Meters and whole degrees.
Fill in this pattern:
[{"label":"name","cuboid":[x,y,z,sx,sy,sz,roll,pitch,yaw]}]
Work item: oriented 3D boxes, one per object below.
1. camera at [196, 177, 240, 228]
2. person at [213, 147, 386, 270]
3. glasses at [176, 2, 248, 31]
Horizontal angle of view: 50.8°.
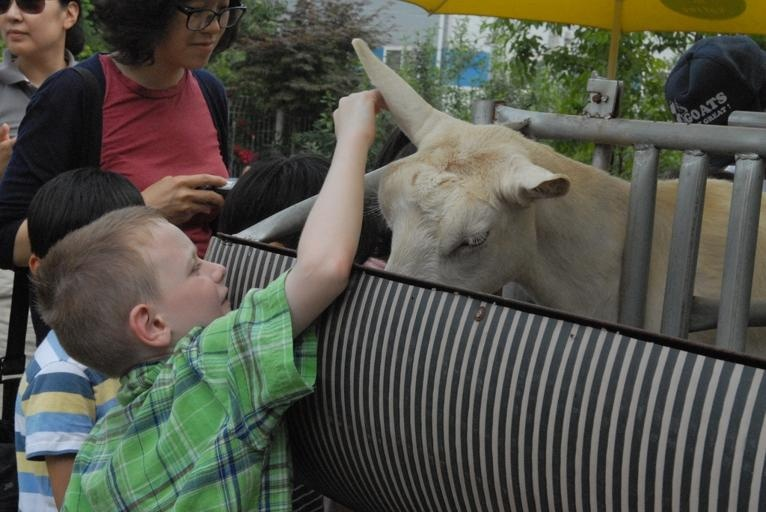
[{"label":"camera","cuboid":[-0.899,-0.292,4.107,0.335,0.105,0.200,-19,46,26]},{"label":"person","cuboid":[-0.401,-0.256,4.275,0.514,0.748,0.765,6,-15,15]},{"label":"glasses","cuboid":[-0.888,-1.165,3.915,0.229,0.077,0.229,-10,28,-36]}]
